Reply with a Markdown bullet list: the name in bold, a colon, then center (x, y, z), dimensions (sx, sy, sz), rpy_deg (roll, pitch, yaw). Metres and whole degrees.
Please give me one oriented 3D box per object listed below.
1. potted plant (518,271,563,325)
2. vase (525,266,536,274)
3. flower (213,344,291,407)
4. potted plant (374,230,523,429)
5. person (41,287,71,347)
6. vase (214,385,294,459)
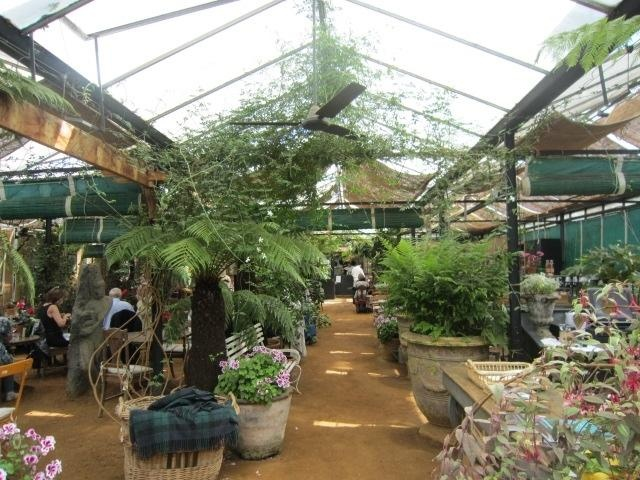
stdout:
- **potted plant**: center (2.818, 0.806, 6.457), dimensions (0.633, 0.719, 0.624), rpy_deg (1, -13, 1)
- **vase**: center (3.410, 0.490, 7.629), dimensions (0.158, 0.104, 0.154), rpy_deg (0, -1, 19)
- **flower**: center (-0.662, 1.414, 4.978), dimensions (0.607, 0.305, 0.573), rpy_deg (4, 9, -3)
- **potted plant**: center (1.494, 1.046, 5.562), dimensions (1.461, 2.186, 0.967), rpy_deg (0, -1, 4)
- **person**: center (-4.636, 1.353, 8.199), dimensions (0.444, 1.081, 0.953), rpy_deg (0, -2, -30)
- **vase**: center (-0.699, 1.901, 4.983), dimensions (0.735, 0.511, 0.708), rpy_deg (4, -11, -23)
